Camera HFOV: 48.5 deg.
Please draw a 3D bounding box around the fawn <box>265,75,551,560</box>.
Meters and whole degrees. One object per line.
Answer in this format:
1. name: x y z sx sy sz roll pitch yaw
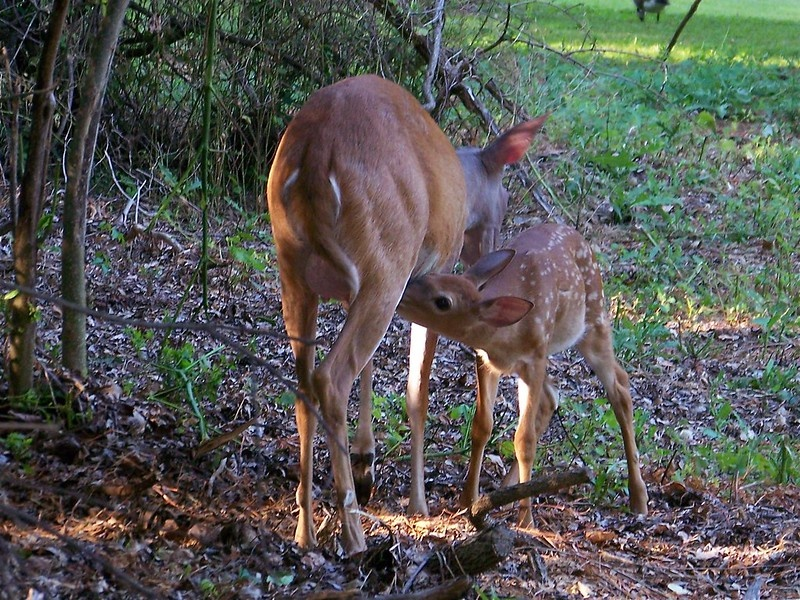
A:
1. fawn: -0.125 0.008 5.012 0.847 2.401 1.575 16 18 30
